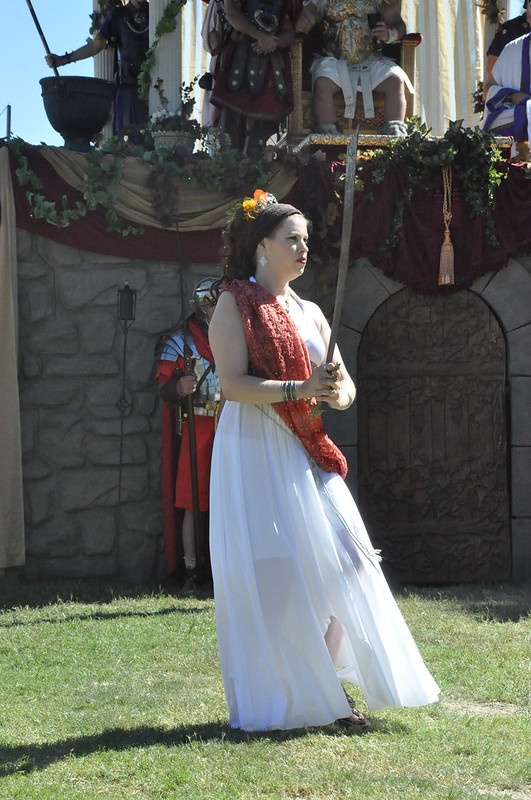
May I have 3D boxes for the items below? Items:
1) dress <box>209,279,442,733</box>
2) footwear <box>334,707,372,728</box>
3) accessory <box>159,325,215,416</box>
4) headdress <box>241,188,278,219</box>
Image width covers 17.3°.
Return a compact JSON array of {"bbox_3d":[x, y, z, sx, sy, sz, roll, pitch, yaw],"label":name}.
[{"bbox_3d":[0.197,0.661,7.114,0.824,1.293,0.452,-2,8,-3],"label":"dress"},{"bbox_3d":[0.365,1.290,7.132,0.130,0.052,0.063,-1,3,-26],"label":"footwear"},{"bbox_3d":[-0.426,-0.165,10.009,0.375,0.490,0.253,-3,-2,-22],"label":"accessory"},{"bbox_3d":[-0.032,-0.799,7.388,0.143,0.093,0.141,-26,28,-17],"label":"headdress"}]
